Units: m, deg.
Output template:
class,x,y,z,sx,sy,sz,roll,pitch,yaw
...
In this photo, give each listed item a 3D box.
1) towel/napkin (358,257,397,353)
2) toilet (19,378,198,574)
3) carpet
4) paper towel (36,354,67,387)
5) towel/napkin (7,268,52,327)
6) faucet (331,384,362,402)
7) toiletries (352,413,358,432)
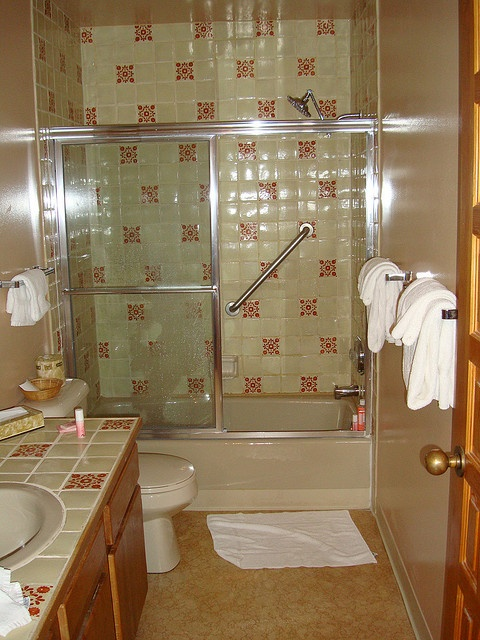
class,x,y,z,sx,sy,sz,roll,pitch,yaw
towel/napkin,0.504,-0.044,1.889,0.140,0.340,0.429,1,9,13
toilet,-0.513,0.632,2.507,0.850,0.984,0.460,-1,19,-5
carpet,0.207,0.988,2.377,0.735,0.018,0.434,-2,8,0
paper towel,-0.769,0.220,2.166,0.108,0.127,0.113,4,18,4
towel/napkin,-0.803,-0.087,1.989,0.139,0.200,0.212,5,11,38
faucet,0.556,0.376,2.701,0.132,0.071,0.084,1,2,-2
toiletries,0.572,0.504,2.595,0.024,0.073,0.100,0,9,12
